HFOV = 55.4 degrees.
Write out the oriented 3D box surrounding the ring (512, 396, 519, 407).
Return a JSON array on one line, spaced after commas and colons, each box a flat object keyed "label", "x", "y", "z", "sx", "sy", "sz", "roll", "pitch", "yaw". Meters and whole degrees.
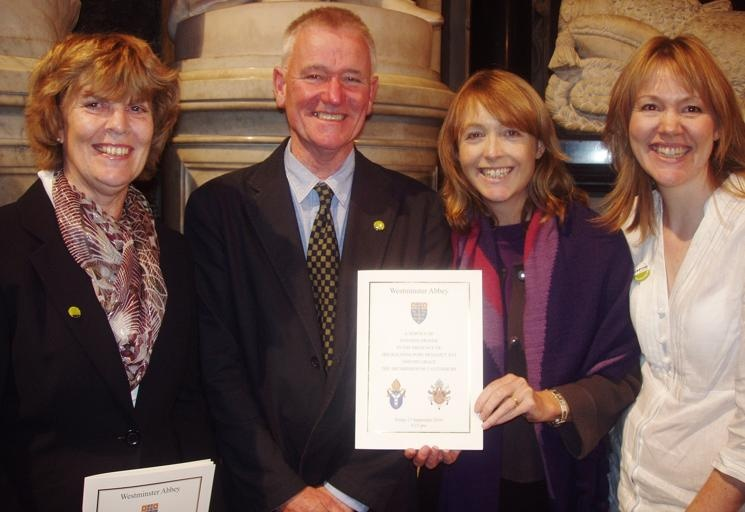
[{"label": "ring", "x": 0.558, "y": 0.577, "z": 2.778, "sx": 0.022, "sy": 0.032, "sz": 0.011, "roll": 6, "pitch": -8, "yaw": -23}]
